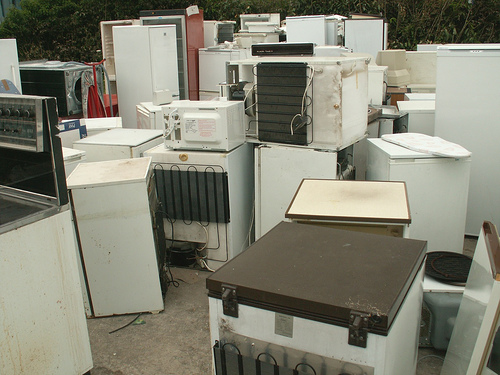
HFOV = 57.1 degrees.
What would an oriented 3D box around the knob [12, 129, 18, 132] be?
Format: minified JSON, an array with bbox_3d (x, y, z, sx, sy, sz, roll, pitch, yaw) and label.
[{"bbox_3d":[-1.421,-0.345,2.789,0.041,0.016,0.007,10,22,34],"label":"knob"}]

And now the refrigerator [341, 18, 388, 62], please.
[{"bbox_3d":[2.244,-2.891,8.908,0.773,0.747,0.597,2,18,13],"label":"refrigerator"}]

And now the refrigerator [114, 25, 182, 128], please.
[{"bbox_3d":[-1.725,-1.872,7.859,1.041,1.652,0.517,-8,18,-18],"label":"refrigerator"}]

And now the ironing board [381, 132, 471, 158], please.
[{"bbox_3d":[1.641,-0.391,4.278,0.604,0.124,0.820,0,18,2],"label":"ironing board"}]

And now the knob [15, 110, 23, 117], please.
[{"bbox_3d":[-1.369,-0.439,2.731,0.030,0.044,0.037,-3,3,4],"label":"knob"}]

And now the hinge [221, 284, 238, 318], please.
[{"bbox_3d":[-0.109,0.566,2.235,0.086,0.161,0.097,5,10,26],"label":"hinge"}]

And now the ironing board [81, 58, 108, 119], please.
[{"bbox_3d":[-2.331,-1.441,6.865,0.189,0.919,0.396,22,31,38],"label":"ironing board"}]

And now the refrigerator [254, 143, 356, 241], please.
[{"bbox_3d":[0.541,-0.098,4.601,0.683,0.961,0.888,9,21,18],"label":"refrigerator"}]

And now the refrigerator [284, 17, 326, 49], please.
[{"bbox_3d":[0.740,-2.116,6.251,0.198,0.351,0.665,-16,22,-36],"label":"refrigerator"}]

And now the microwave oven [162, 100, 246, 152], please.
[{"bbox_3d":[-0.433,-0.616,4.549,0.679,0.467,0.619,1,16,8],"label":"microwave oven"}]

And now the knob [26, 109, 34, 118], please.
[{"bbox_3d":[-1.285,-0.431,2.691,0.029,0.046,0.018,12,-2,-4],"label":"knob"}]

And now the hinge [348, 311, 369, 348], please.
[{"bbox_3d":[0.482,0.641,2.058,0.080,0.157,0.081,5,7,23],"label":"hinge"}]

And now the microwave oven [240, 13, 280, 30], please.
[{"bbox_3d":[0.248,-4.175,11.594,0.966,0.353,0.517,-2,18,4],"label":"microwave oven"}]

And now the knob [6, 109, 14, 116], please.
[{"bbox_3d":[-1.446,-0.452,2.776,0.035,0.020,0.044,2,19,-5],"label":"knob"}]
